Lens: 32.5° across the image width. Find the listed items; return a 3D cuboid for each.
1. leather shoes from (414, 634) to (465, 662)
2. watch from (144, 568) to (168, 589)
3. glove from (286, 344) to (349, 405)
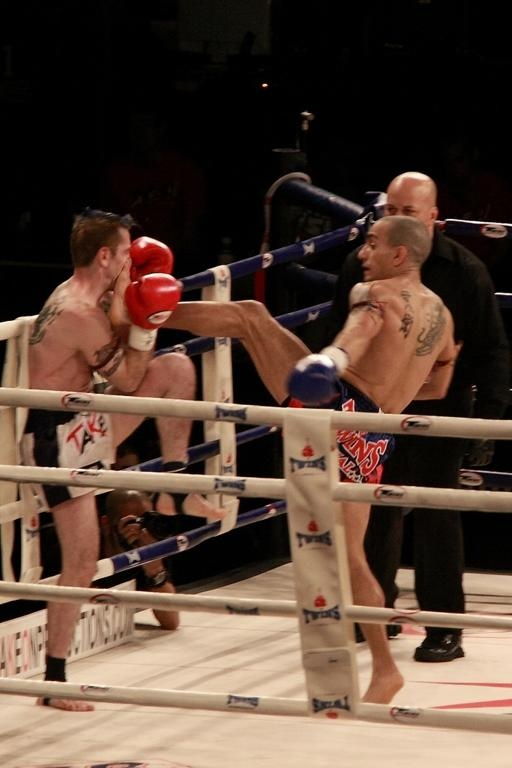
[{"bbox_3d":[0.575,0.828,2.747,0.171,0.081,0.068,1,-2,-20],"label":"leather shoes"},{"bbox_3d":[-0.333,0.667,3.039,0.086,0.048,0.088,-7,-5,26],"label":"watch"},{"bbox_3d":[0.116,-0.018,1.661,0.080,0.056,0.147,35,23,9],"label":"glove"}]
